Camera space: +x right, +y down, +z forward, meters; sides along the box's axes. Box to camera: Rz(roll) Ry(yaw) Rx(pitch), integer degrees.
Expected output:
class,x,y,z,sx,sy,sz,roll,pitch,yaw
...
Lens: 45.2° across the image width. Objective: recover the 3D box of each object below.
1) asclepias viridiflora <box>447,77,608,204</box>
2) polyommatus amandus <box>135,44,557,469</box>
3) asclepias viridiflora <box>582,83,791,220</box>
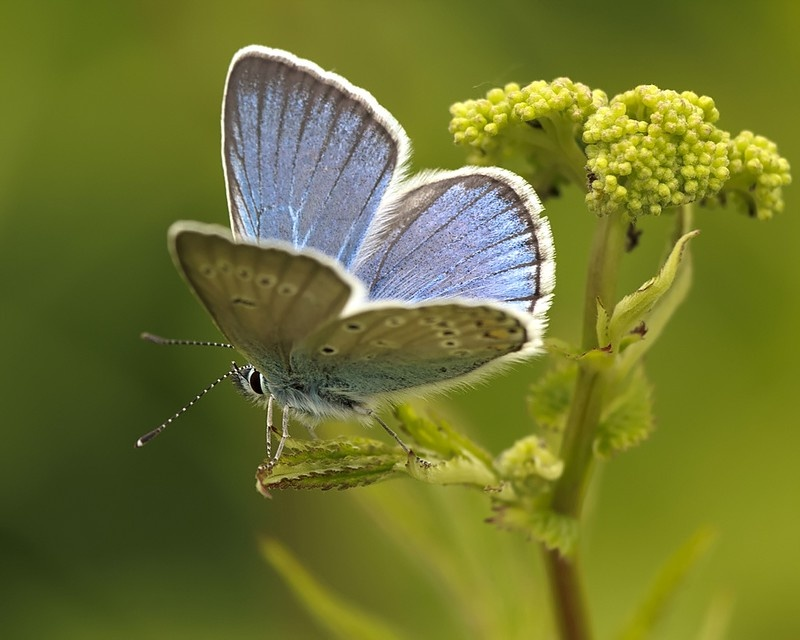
class,x,y,z,sx,sy,sz,roll,pitch,yaw
asclepias viridiflora,0.283,-0.525,2.603,0.443,0.334,0.396,3,24,0
polyommatus amandus,-0.066,-0.188,2.966,1.370,1.070,1.338,9,-3,1
asclepias viridiflora,0.732,-0.385,2.381,0.539,0.308,0.277,10,-12,-7
